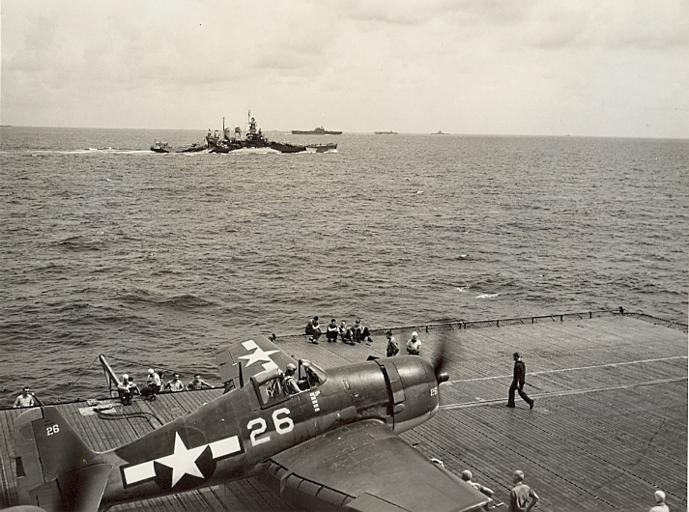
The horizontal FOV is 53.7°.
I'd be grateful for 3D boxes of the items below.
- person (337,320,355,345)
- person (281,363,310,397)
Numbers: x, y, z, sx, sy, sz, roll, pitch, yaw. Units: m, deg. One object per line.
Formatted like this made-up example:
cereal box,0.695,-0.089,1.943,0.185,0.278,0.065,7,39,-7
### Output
person,0.137,3.850,34.174,0.703,1.213,0.695,-7,-19,-20
person,-1.574,4.165,22.669,0.750,1.180,0.868,-9,16,-23
